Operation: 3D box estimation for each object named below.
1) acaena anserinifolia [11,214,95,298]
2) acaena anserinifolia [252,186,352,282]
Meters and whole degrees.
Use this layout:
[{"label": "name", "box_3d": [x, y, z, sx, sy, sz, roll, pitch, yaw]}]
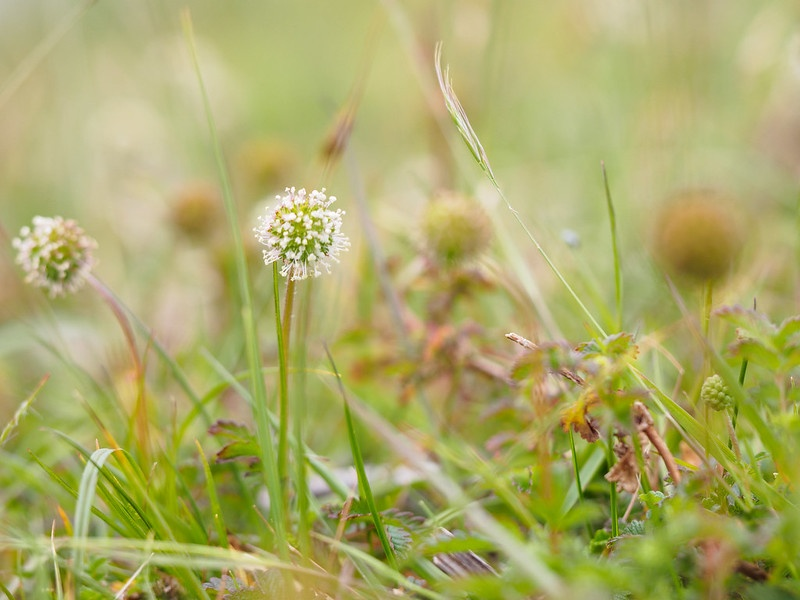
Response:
[{"label": "acaena anserinifolia", "box_3d": [-0.526, -0.074, 1.172, 0.113, 0.076, 0.114, -23, -23, 31]}, {"label": "acaena anserinifolia", "box_3d": [-0.145, -0.096, 1.125, 0.121, 0.116, 0.127, -10, -10, 38]}]
